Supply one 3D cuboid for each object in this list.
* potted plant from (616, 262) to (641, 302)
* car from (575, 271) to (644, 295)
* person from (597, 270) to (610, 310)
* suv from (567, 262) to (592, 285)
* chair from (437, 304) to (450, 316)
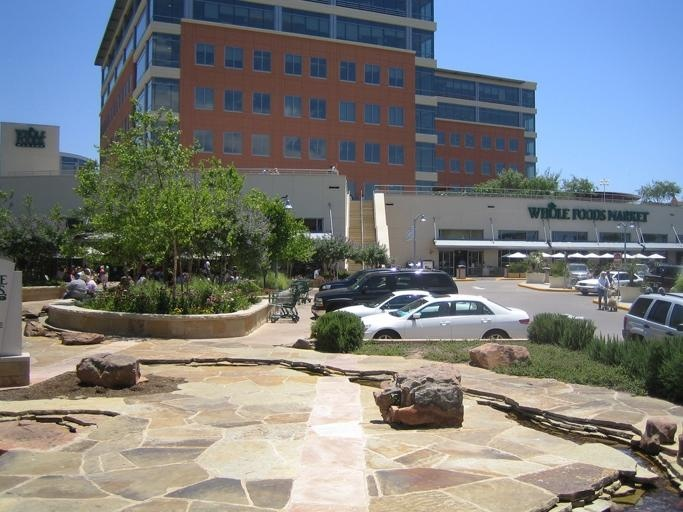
[{"bbox_3d":[15.347,1.426,31.465,1.509,1.965,1.557,-2,0,-18],"label":"potted plant"},{"bbox_3d":[15.639,1.578,34.488,3.405,1.229,1.445,0,-2,-28],"label":"car"},{"bbox_3d":[12.357,1.612,27.927,0.466,1.510,2.055,3,1,23],"label":"person"},{"bbox_3d":[17.860,1.130,44.598,1.590,1.590,3.090,-3,-8,13],"label":"suv"},{"bbox_3d":[2.706,1.417,15.829,0.278,0.302,0.530,6,4,0],"label":"chair"}]
